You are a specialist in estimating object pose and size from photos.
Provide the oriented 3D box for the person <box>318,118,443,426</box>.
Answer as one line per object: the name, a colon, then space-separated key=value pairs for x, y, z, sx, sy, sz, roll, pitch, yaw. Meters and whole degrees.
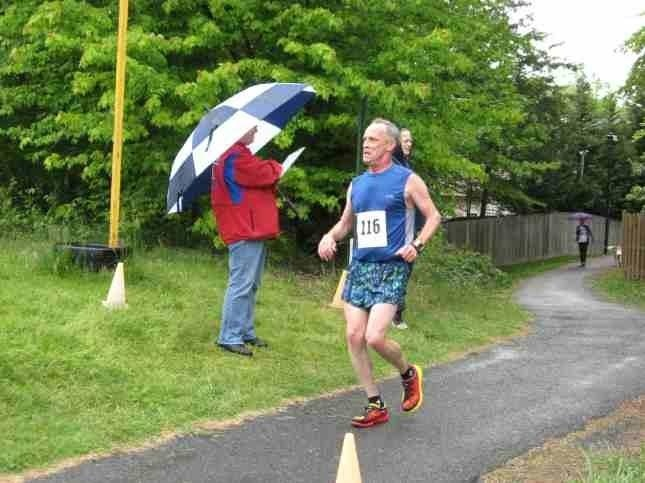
person: x=0.681 y=0.327 z=9.062 sx=0.901 sy=3.183 sz=0.788 roll=1 pitch=10 yaw=0

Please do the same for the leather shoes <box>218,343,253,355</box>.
leather shoes: x=-1.111 y=1.354 z=10.727 sx=0.418 sy=0.180 sz=0.160 roll=9 pitch=-1 yaw=22

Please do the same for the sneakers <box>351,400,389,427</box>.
sneakers: x=0.527 y=1.844 z=9.081 sx=0.445 sy=0.211 sz=0.185 roll=0 pitch=-3 yaw=-42

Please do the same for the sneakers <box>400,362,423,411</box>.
sneakers: x=0.992 y=1.589 z=9.227 sx=0.217 sy=0.525 sz=0.209 roll=16 pitch=-22 yaw=-37

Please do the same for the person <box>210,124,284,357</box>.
person: x=-0.971 y=-0.006 z=10.788 sx=0.855 sy=2.835 sz=0.663 roll=-1 pitch=10 yaw=-9

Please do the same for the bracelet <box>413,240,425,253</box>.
bracelet: x=1.010 y=0.062 z=8.906 sx=0.091 sy=0.146 sz=0.126 roll=-22 pitch=3 yaw=-8

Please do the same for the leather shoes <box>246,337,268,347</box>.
leather shoes: x=-0.866 y=1.319 z=11.190 sx=0.254 sy=0.123 sz=0.120 roll=1 pitch=2 yaw=7
